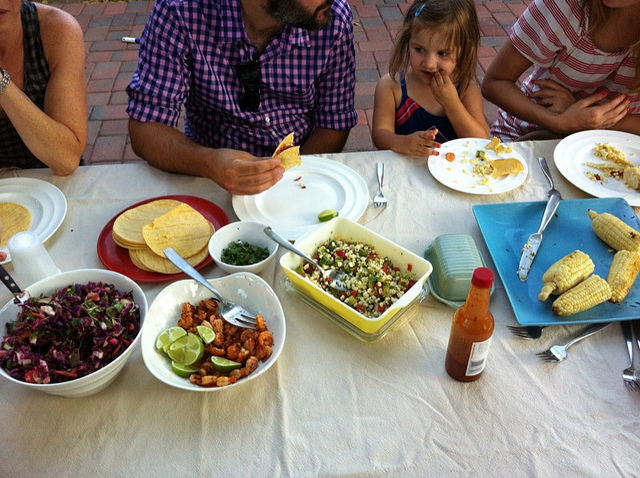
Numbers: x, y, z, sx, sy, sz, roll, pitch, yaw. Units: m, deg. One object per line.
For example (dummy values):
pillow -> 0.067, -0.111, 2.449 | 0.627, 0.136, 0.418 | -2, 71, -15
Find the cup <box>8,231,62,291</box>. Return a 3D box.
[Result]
cup -> -1.097, 0.077, 2.057 | 0.173, 0.211, 0.209 | -10, 26, -27

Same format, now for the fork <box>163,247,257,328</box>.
fork -> -0.397, 0.227, 2.012 | 0.087, 0.057, 0.482 | -35, 36, -22

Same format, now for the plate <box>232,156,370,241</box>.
plate -> -0.035, -0.178, 2.416 | 0.418, 0.049, 0.451 | 24, 49, 16

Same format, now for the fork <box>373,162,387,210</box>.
fork -> 0.282, -0.242, 2.461 | 0.049, 0.032, 0.272 | 0, 48, 6

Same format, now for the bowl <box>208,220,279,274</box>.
bowl -> -0.324, 0.040, 2.145 | 0.218, 0.110, 0.241 | 22, 51, 5

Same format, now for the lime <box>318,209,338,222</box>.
lime -> 0.032, -0.108, 2.296 | 0.060, 0.025, 0.057 | -27, 21, -1

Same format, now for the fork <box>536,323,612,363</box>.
fork -> 0.935, 0.390, 1.910 | 0.232, 0.029, 0.033 | -27, 53, -25

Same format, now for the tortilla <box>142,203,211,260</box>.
tortilla -> -0.599, -0.041, 2.230 | 0.282, 0.225, 0.261 | -20, 35, -31

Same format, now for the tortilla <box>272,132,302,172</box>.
tortilla -> -0.160, -0.414, 2.473 | 0.138, 0.159, 0.053 | -19, 43, -1

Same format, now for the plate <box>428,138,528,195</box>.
plate -> 0.729, -0.357, 2.581 | 0.409, 0.302, 0.462 | -7, 30, -15

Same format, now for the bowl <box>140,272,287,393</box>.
bowl -> -0.372, 0.307, 1.799 | 0.396, 0.140, 0.472 | 0, 59, -7

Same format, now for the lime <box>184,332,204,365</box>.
lime -> -0.453, 0.395, 1.847 | 0.064, 0.032, 0.130 | -8, 56, -14

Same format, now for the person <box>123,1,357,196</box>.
person -> -0.399, -0.725, 2.679 | 0.783, 1.177, 0.692 | -9, 64, -17

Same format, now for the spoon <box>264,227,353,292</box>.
spoon -> -0.038, 0.092, 2.073 | 0.304, 0.043, 0.066 | 42, 69, 9

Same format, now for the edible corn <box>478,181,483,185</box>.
edible corn -> 0.763, -0.263, 2.466 | 0.011, 0.005, 0.014 | -3, 49, 0

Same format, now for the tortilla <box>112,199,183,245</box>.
tortilla -> -0.782, -0.093, 2.284 | 0.248, 0.195, 0.274 | 19, 32, 31

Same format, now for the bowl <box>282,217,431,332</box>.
bowl -> 0.125, 0.131, 2.026 | 0.495, 0.139, 0.348 | 33, 55, 27

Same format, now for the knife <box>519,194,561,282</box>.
knife -> 0.997, -0.072, 2.302 | 0.103, 0.066, 0.734 | 19, 49, 21

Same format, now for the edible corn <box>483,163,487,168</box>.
edible corn -> 0.807, -0.358, 2.544 | 0.011, 0.005, 0.023 | 0, 59, 14

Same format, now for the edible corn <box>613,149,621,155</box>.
edible corn -> 1.466, -0.431, 2.564 | 0.025, 0.007, 0.027 | 0, 37, 4

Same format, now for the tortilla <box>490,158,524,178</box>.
tortilla -> 0.894, -0.342, 2.495 | 0.126, 0.033, 0.089 | -8, 61, 17

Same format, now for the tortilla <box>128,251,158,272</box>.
tortilla -> -0.738, 0.100, 2.136 | 0.069, 0.010, 0.071 | 42, 18, -15
